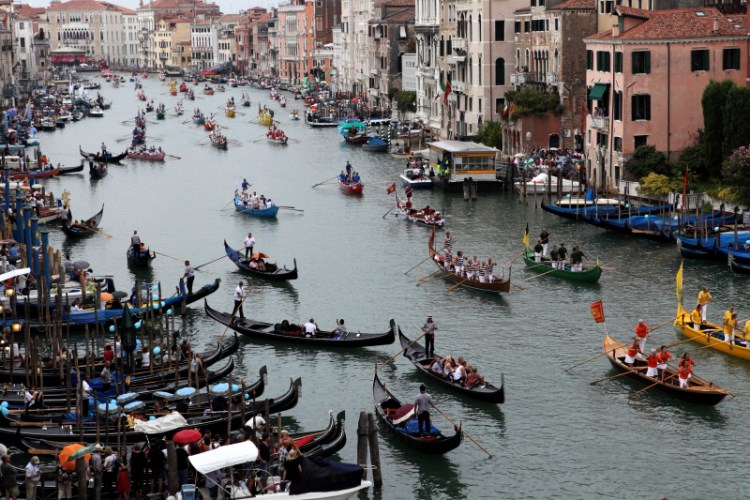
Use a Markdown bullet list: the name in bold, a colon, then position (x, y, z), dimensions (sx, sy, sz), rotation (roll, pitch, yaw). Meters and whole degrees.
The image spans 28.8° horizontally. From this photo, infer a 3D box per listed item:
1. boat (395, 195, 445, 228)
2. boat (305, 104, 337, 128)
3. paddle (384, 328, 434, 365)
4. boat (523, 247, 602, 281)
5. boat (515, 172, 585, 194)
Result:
- **boat**: position (4.065, -2.963, 121.569), dimensions (1.740, 1.944, 6.362), rotation (-8, 22, -35)
- **boat**: position (-7.367, -17.884, 198.842), dimensions (2.391, 3.146, 7.937), rotation (0, 1, -9)
- **paddle**: position (2.235, 6.194, 92.882), dimensions (2.562, 0.852, 0.486), rotation (-42, 45, -13)
- **boat**: position (13.724, 1.431, 106.301), dimensions (7.534, 2.262, 1.968), rotation (11, 15, 41)
- **boat**: position (15.621, -5.498, 128.462), dimensions (6.375, 2.119, 1.978), rotation (2, 4, 25)
